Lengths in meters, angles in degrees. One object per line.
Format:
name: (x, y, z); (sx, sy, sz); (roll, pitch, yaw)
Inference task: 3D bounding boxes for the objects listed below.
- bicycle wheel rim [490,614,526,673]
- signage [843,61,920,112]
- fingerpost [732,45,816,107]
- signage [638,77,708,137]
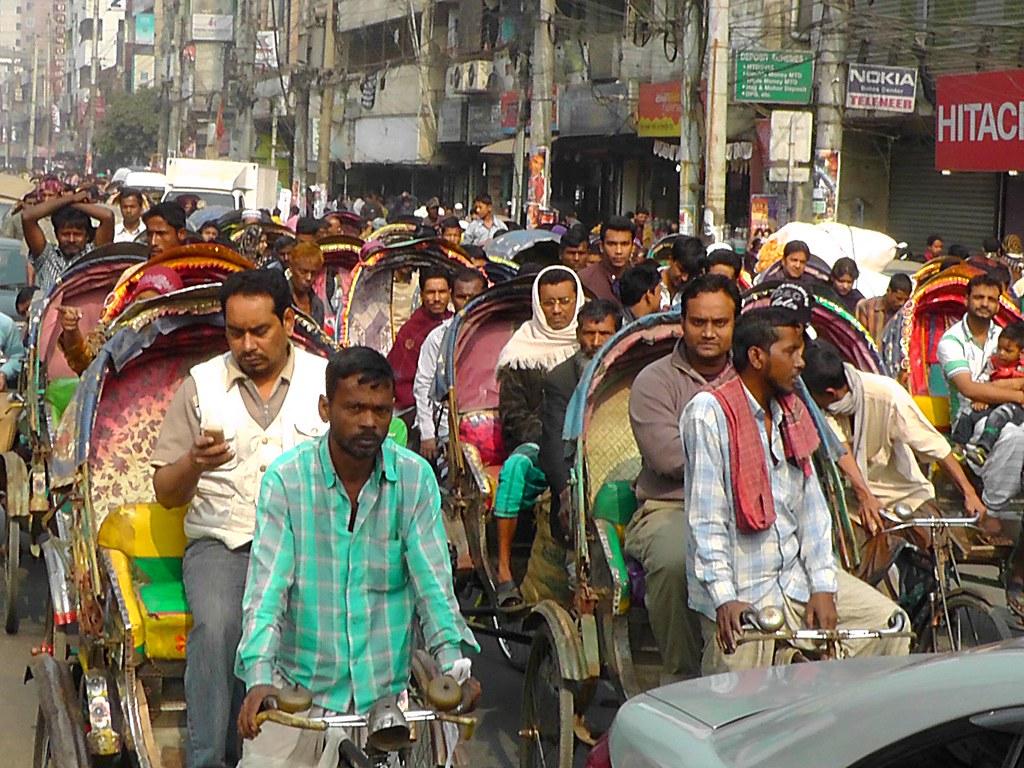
bicycle wheel rim: (-0.042, 1.446, 8.300); (0.073, 0.377, 0.334); (-4, 3, -25)
signage: (5.219, -4.240, 20.813); (1.551, 0.651, 0.504); (-3, 3, -44)
fingerpost: (3.475, -4.106, 19.613); (0.995, 0.729, 0.722); (-1, 2, 7)
signage: (2.811, -5.036, 26.740); (0.947, 1.065, 0.718); (6, 6, 33)
